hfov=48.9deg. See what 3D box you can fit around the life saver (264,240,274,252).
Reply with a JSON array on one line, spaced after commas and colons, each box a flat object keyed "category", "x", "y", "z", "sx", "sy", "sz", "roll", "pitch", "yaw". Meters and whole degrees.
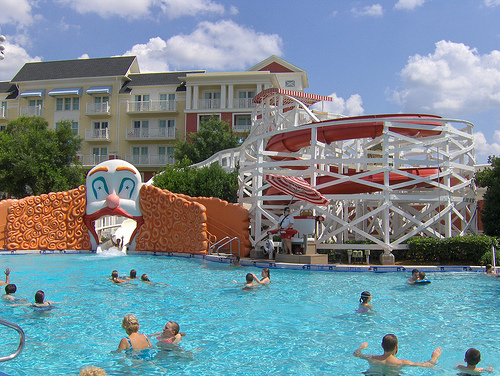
[{"category": "life saver", "x": 0.817, "y": 2.391, "z": 22.500, "sx": 0.375, "sy": 0.460, "sz": 0.467, "roll": 8, "pitch": -19, "yaw": 18}]
